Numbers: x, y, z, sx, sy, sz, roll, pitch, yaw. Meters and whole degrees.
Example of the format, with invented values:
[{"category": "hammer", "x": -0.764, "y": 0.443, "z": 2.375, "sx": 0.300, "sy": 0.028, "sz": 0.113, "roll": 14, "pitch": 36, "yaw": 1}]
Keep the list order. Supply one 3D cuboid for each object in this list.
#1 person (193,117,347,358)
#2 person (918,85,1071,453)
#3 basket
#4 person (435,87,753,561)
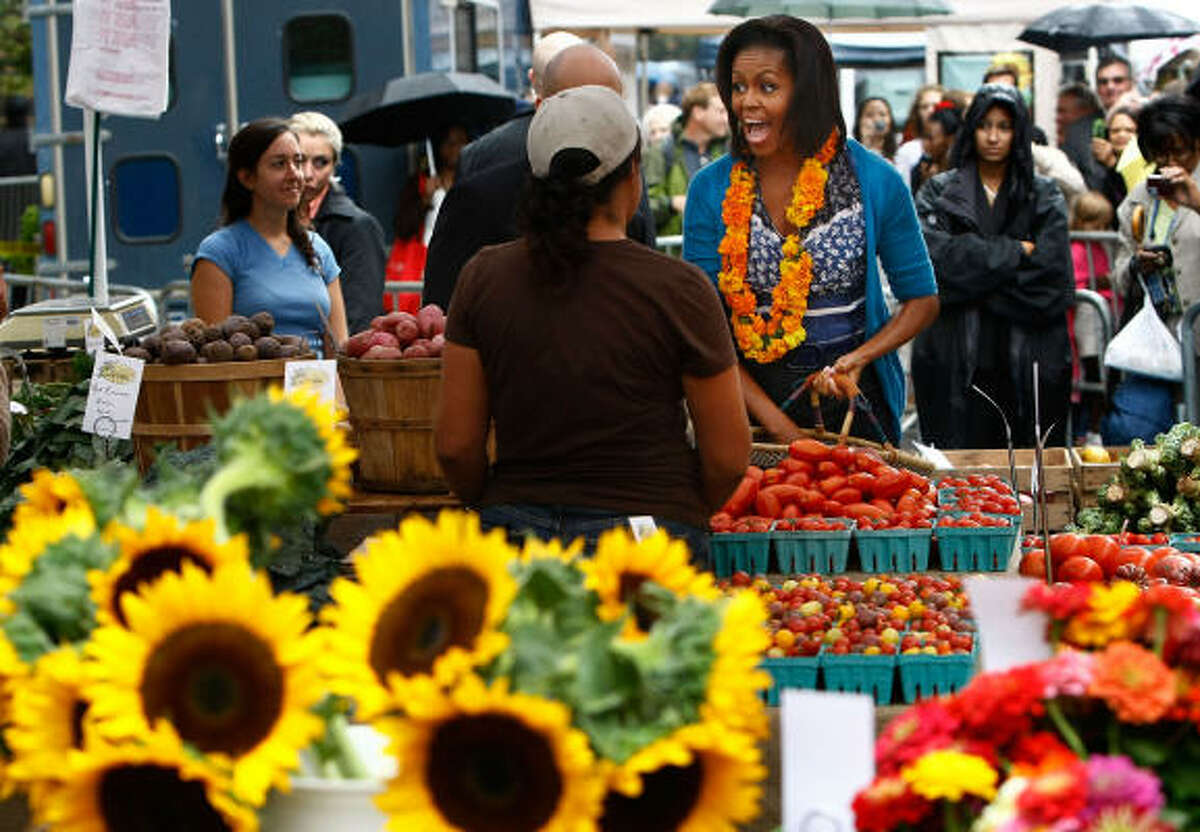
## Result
[{"category": "person", "x": -1.414, "y": -0.759, "z": 5.692, "sx": 0.571, "sy": 0.972, "sz": 0.373, "roll": 0, "pitch": 2, "yaw": -19}, {"category": "person", "x": 2.168, "y": -0.610, "z": 7.592, "sx": 0.937, "sy": 2.384, "sz": 0.762, "roll": -1, "pitch": 20, "yaw": 11}, {"category": "basket", "x": 0.867, "y": 0.020, "z": 4.977, "sx": 0.667, "sy": 0.376, "sz": 0.626, "roll": 1, "pitch": 2, "yaw": -5}, {"category": "person", "x": -0.028, "y": 0.176, "z": 3.819, "sx": 0.751, "sy": 2.065, "sz": 0.677, "roll": 2, "pitch": 18, "yaw": 5}]
